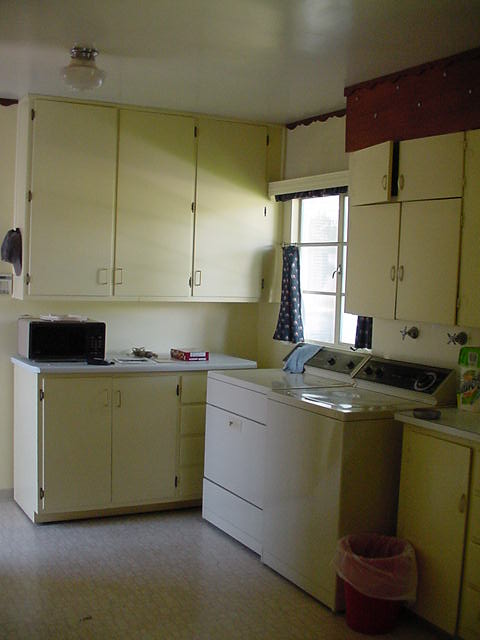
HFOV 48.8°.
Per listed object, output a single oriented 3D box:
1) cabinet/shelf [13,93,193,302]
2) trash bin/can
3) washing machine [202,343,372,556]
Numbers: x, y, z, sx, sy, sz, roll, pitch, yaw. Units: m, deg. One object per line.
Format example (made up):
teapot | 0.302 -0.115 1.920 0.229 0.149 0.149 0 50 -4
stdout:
cabinet/shelf | -0.868 -0.759 3.191 0.987 1.218 0.358 1 1 -25
trash bin/can | 0.477 0.927 2.005 0.279 0.332 0.286 -4 6 -14
washing machine | 0.129 0.529 3.375 0.764 1.733 1.093 2 3 -20
